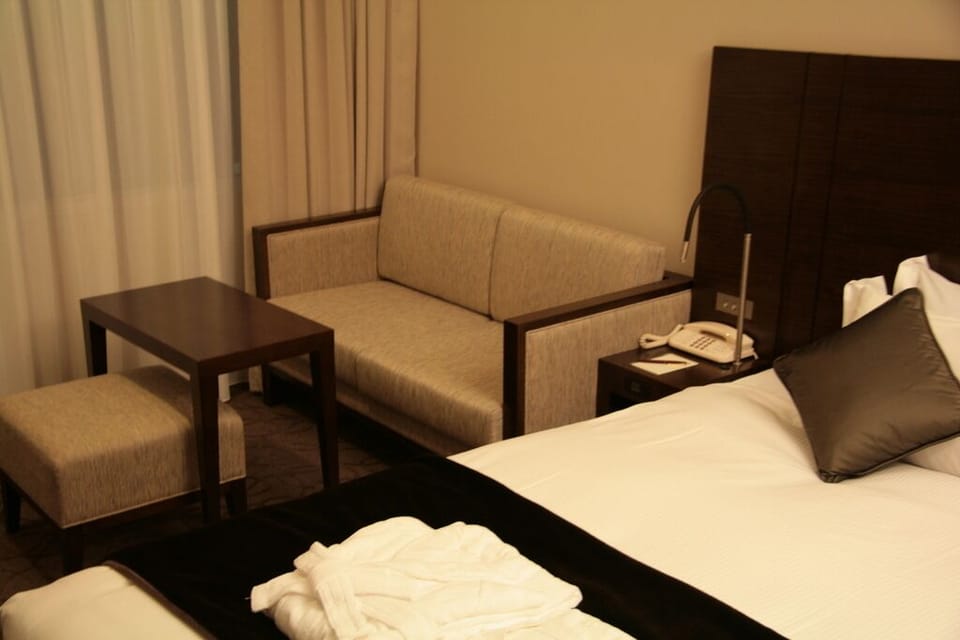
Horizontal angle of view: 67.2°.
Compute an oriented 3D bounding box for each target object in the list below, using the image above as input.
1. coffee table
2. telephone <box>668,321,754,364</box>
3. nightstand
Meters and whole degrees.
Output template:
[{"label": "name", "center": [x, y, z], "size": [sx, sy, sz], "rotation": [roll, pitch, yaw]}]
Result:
[{"label": "coffee table", "center": [-1.272, 0.297, 3.389], "size": [1.136, 0.667, 0.662], "rotation": [17, 23, 41]}, {"label": "telephone", "center": [1.061, 0.093, 3.333], "size": [0.246, 0.116, 0.321], "rotation": [-11, 23, -37]}, {"label": "nightstand", "center": [0.839, 0.224, 3.189], "size": [0.486, 0.466, 0.341], "rotation": [-22, 37, -32]}]
